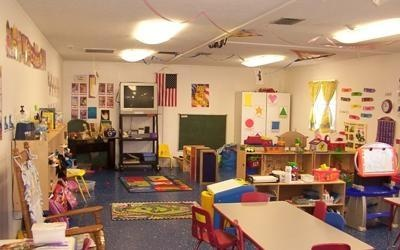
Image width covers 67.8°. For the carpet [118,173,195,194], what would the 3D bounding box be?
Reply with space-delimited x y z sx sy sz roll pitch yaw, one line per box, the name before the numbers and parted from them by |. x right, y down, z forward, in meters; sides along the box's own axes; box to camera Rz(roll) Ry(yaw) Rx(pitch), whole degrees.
carpet | -1.270 1.621 8.315 1.710 0.065 1.786 -2 7 -22

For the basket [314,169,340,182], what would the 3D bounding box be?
basket | 2.777 1.052 6.433 0.344 0.189 0.332 0 1 20

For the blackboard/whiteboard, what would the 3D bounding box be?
blackboard/whiteboard | 0.025 0.238 10.437 1.419 0.904 0.059 0 -4 -8

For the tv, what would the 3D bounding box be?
tv | -2.015 -0.844 10.120 1.654 1.265 0.904 0 2 -15

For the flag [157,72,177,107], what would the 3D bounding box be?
flag | -1.134 -1.210 10.092 0.702 1.111 0.342 0 8 -13

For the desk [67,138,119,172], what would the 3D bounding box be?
desk | -3.602 0.863 9.666 1.614 1.199 1.019 -1 3 -33

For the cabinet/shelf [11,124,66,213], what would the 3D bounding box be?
cabinet/shelf | -2.499 0.673 4.529 0.302 0.643 1.714 -1 7 -13
